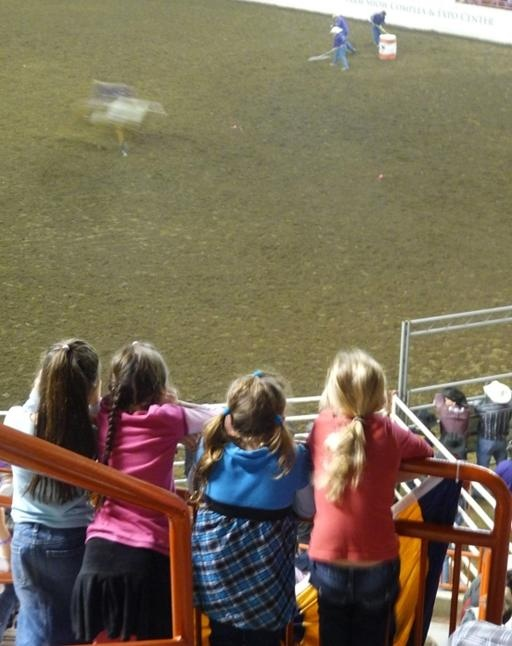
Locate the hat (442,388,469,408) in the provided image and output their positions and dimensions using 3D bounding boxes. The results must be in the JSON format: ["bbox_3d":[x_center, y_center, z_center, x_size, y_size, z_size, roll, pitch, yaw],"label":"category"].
[{"bbox_3d":[1.373,0.516,8.612,0.102,0.077,0.138,2,26,-23],"label":"hat"}]

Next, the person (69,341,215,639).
[{"bbox_3d":[-0.419,0.661,4.792,0.460,1.103,0.554,3,8,13],"label":"person"}]

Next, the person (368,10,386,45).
[{"bbox_3d":[1.916,-4.641,19.571,0.239,0.527,0.964,2,8,5],"label":"person"}]
